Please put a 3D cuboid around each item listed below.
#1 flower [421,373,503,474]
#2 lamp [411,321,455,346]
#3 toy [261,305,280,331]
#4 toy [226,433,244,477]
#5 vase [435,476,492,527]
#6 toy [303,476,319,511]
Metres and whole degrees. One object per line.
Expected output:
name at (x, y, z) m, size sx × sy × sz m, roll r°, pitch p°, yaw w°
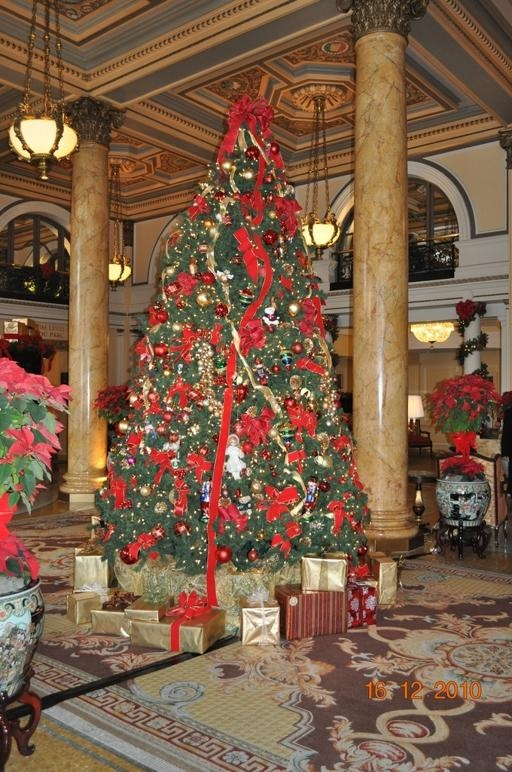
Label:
flower at (1.789, 0.336, 5.364) m, size 0.427 × 0.880 × 0.577 m, roll 2°, pitch -5°, yaw -21°
lamp at (3.617, -1.134, 13.105) m, size 0.800 × 0.489 × 0.813 m, roll -5°, pitch -5°, yaw 39°
toy at (0.100, -0.368, 3.363) m, size 0.118 × 0.143 × 0.059 m, roll 3°, pitch -5°, yaw -33°
toy at (-0.107, 0.365, 3.292) m, size 0.109 × 0.200 × 0.074 m, roll -6°, pitch 3°, yaw -18°
vase at (1.796, 0.988, 5.279) m, size 0.471 × 0.453 × 0.498 m, roll -4°, pitch -4°, yaw 21°
toy at (0.296, 0.572, 3.328) m, size 0.090 × 0.153 × 0.067 m, roll 10°, pitch -4°, yaw -42°
